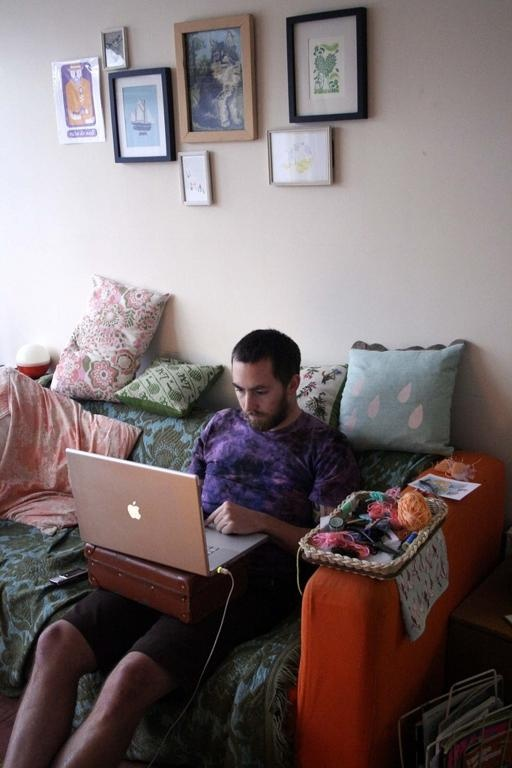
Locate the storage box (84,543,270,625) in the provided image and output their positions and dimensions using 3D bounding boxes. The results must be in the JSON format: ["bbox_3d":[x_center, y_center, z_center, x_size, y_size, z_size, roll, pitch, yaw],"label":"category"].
[{"bbox_3d":[-0.180,0.355,1.261,0.282,0.103,0.209,10,22,34],"label":"storage box"}]

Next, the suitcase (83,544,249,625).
[{"bbox_3d":[-0.199,0.403,1.239,0.256,0.091,0.188,12,23,32],"label":"suitcase"}]

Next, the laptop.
[{"bbox_3d":[-0.183,0.246,1.281,0.374,0.261,0.269,8,25,32],"label":"laptop"}]

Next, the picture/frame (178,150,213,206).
[{"bbox_3d":[-0.224,-0.769,2.184,0.147,0.190,0.031,10,22,38],"label":"picture/frame"}]

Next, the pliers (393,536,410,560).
[{"bbox_3d":[0.248,0.282,1.009,0.018,0.006,0.025,-21,25,44],"label":"pliers"}]

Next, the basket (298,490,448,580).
[{"bbox_3d":[0.229,0.279,1.088,0.188,0.053,0.304,5,19,33],"label":"basket"}]

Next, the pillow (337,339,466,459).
[{"bbox_3d":[0.428,0.055,1.679,0.313,0.262,0.141,4,19,29],"label":"pillow"}]

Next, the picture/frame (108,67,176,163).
[{"bbox_3d":[-0.432,-1.052,2.262,0.357,0.408,0.047,9,19,35],"label":"picture/frame"}]

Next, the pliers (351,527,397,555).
[{"bbox_3d":[0.209,0.279,1.034,0.035,0.027,0.086,-10,12,-15],"label":"pliers"}]

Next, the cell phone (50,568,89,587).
[{"bbox_3d":[-0.537,0.547,1.665,0.053,0.020,0.088,5,17,42],"label":"cell phone"}]
